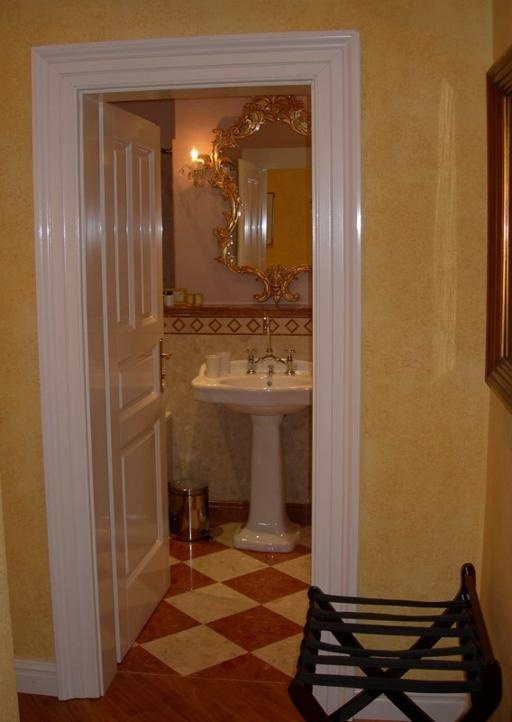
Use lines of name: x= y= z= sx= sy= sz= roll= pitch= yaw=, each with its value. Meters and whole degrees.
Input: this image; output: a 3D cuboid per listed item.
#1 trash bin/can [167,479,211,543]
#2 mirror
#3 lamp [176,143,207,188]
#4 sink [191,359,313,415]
trash bin/can: x=-0.325 y=0.829 z=3.642 sx=0.283 sy=0.318 sz=0.300 roll=1 pitch=16 yaw=1
mirror: x=0.003 y=-0.888 z=3.577 sx=0.630 sy=1.121 sz=0.162 roll=3 pitch=5 yaw=24
lamp: x=-0.372 y=-1.123 z=3.657 sx=0.203 sy=0.221 sz=0.064 roll=4 pitch=6 yaw=34
sink: x=-0.021 y=0.150 z=3.257 sx=0.596 sy=0.252 sz=0.541 roll=1 pitch=5 yaw=4
